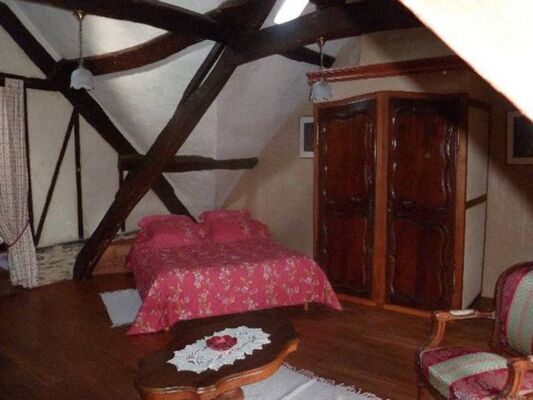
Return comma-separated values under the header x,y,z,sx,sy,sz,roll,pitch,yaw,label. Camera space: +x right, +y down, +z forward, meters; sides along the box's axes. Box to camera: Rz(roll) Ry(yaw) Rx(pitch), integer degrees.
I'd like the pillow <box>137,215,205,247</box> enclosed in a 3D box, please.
x,y,z,sx,sy,sz,roll,pitch,yaw,label
-1.162,0.348,5.336,0.490,0.128,0.463,-5,28,-28,pillow

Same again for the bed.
x,y,z,sx,sy,sz,roll,pitch,yaw,label
-0.473,0.854,4.921,2.037,0.673,1.256,-4,13,-15,bed

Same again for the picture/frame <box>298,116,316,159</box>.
x,y,z,sx,sy,sz,roll,pitch,yaw,label
0.635,-0.865,6.173,0.409,0.590,0.023,0,-1,5,picture/frame
